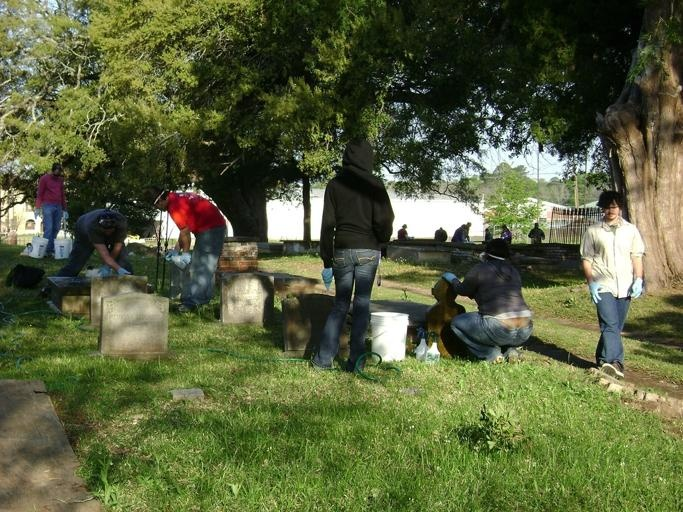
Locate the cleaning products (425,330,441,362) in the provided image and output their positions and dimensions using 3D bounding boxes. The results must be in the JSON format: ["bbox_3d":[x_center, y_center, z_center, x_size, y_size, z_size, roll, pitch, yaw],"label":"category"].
[{"bbox_3d":[1.237,1.229,7.918,0.167,0.529,0.166,24,-31,-37],"label":"cleaning products"}]

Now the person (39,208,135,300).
[{"bbox_3d":[-4.412,-0.194,10.555,0.914,1.316,1.695,-2,8,-45],"label":"person"}]

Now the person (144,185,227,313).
[{"bbox_3d":[-2.632,-0.076,10.398,1.098,2.117,0.846,1,5,-13],"label":"person"}]

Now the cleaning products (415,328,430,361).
[{"bbox_3d":[1.086,1.231,8.113,0.237,0.542,0.270,0,0,6],"label":"cleaning products"}]

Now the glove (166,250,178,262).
[{"bbox_3d":[-2.811,-0.001,9.791,0.214,0.213,0.226,1,6,-22],"label":"glove"}]

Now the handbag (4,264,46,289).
[{"bbox_3d":[-6.369,0.417,12.035,0.470,0.264,0.593,6,7,1],"label":"handbag"}]

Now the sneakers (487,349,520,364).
[{"bbox_3d":[2.202,1.353,7.826,0.255,0.113,0.231,-13,-13,6],"label":"sneakers"}]

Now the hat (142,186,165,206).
[{"bbox_3d":[-3.308,-1.097,10.354,0.302,0.293,0.372,-2,-22,-25],"label":"hat"}]

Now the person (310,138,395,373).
[{"bbox_3d":[0.140,-0.006,7.019,0.872,2.773,0.375,2,5,-3],"label":"person"}]

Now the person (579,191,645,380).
[{"bbox_3d":[3.524,0.340,7.785,0.778,2.409,0.943,6,6,33],"label":"person"}]

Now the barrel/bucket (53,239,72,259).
[{"bbox_3d":[-7.616,-0.182,16.031,0.466,0.572,0.492,2,2,0],"label":"barrel/bucket"}]

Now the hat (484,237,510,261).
[{"bbox_3d":[2.116,-0.131,8.032,0.240,0.295,0.343,3,30,-25],"label":"hat"}]

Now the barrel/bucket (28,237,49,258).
[{"bbox_3d":[-8.397,-0.216,16.399,0.466,0.593,0.507,6,-6,1],"label":"barrel/bucket"}]

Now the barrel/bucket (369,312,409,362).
[{"bbox_3d":[0.616,1.077,7.832,0.469,0.613,0.546,-2,-4,33],"label":"barrel/bucket"}]

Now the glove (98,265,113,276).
[{"bbox_3d":[-4.164,0.266,10.375,0.139,0.174,0.158,0,0,-4],"label":"glove"}]

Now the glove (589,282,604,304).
[{"bbox_3d":[3.365,0.501,7.799,0.171,0.260,0.064,-8,-4,40],"label":"glove"}]

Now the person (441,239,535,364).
[{"bbox_3d":[1.996,0.606,7.828,1.047,1.658,0.490,4,5,20],"label":"person"}]

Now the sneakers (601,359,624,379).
[{"bbox_3d":[3.428,1.455,7.452,0.271,0.161,0.349,5,6,23],"label":"sneakers"}]

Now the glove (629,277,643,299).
[{"bbox_3d":[4.038,0.434,8.031,0.126,0.352,0.691,5,6,30],"label":"glove"}]

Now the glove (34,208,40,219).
[{"bbox_3d":[-8.393,-1.182,16.204,0.100,0.273,0.661,0,6,-24],"label":"glove"}]
